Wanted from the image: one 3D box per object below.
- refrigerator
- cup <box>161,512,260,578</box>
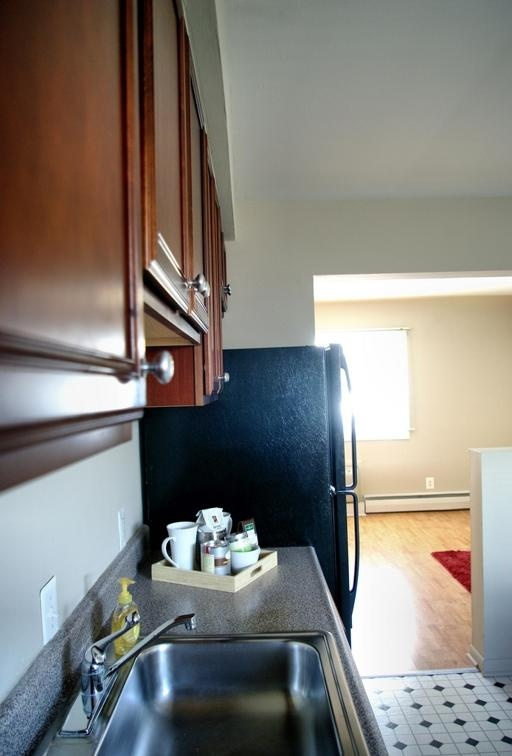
[{"bbox_3d":[0.030,0.413,2.799,0.985,1.867,0.839,-1,2,2],"label":"refrigerator"},{"bbox_3d":[-0.138,0.476,1.629,0.160,0.215,0.262,4,8,42],"label":"cup"}]
